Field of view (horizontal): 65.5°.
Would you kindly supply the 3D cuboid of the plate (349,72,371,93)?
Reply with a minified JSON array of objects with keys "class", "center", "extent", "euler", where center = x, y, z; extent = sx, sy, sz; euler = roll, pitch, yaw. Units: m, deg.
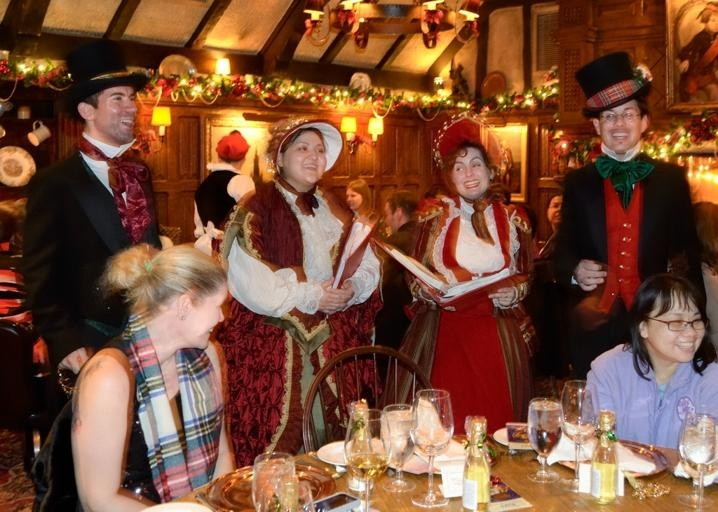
[{"class":"plate","center":[0.015,-2.833,9.091],"extent":[0.382,0.354,0.236],"euler":[0,4,-15]}]

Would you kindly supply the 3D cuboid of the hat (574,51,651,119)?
[{"class":"hat","center":[1.363,-0.917,3.037],"extent":[0.317,0.201,0.391],"euler":[-28,6,15]}]

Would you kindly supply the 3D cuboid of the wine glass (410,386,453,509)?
[{"class":"wine glass","center":[0.209,0.536,1.588],"extent":[0.109,0.283,0.192],"euler":[1,4,7]}]

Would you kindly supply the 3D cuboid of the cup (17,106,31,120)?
[{"class":"cup","center":[-4.265,-1.820,7.139],"extent":[0.163,0.148,0.163],"euler":[0,2,0]}]

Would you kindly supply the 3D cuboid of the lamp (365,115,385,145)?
[{"class":"lamp","center":[0.297,-2.240,9.813],"extent":[0.430,0.639,0.427],"euler":[0,-8,1]}]

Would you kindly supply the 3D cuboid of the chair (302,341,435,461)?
[{"class":"chair","center":[0.018,0.594,2.291],"extent":[0.527,0.473,0.696],"euler":[-10,-15,2]}]

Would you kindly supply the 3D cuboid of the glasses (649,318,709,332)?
[{"class":"glasses","center":[1.250,0.270,2.180],"extent":[0.192,0.046,0.056],"euler":[1,3,2]}]

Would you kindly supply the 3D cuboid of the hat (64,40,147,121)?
[{"class":"hat","center":[-1.166,-0.818,2.720],"extent":[0.363,0.190,0.366],"euler":[-23,0,21]}]

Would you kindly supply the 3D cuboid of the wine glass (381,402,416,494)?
[{"class":"wine glass","center":[0.111,0.545,1.586],"extent":[0.093,0.258,0.249],"euler":[1,4,6]}]

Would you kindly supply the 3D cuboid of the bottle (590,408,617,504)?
[{"class":"bottle","center":[0.699,0.555,1.561],"extent":[0.104,0.245,0.069],"euler":[-1,4,-29]}]

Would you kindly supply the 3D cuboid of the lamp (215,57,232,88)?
[{"class":"lamp","center":[-1.975,-2.710,8.091],"extent":[0.209,0.510,0.587],"euler":[0,4,-14]}]
